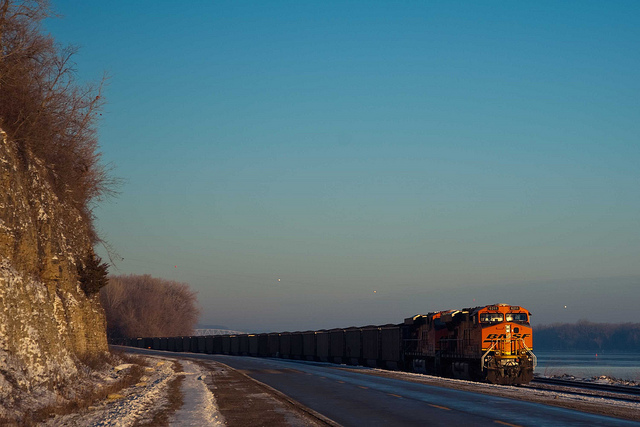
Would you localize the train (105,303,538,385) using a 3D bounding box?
[{"bbox_3d":[1.504,12.486,83.161,3.213,8.339,59.832,3,-5,-22],"label":"train"}]
